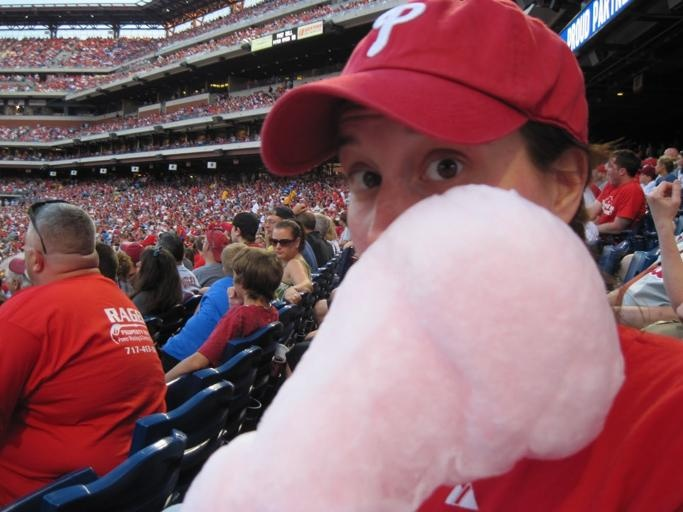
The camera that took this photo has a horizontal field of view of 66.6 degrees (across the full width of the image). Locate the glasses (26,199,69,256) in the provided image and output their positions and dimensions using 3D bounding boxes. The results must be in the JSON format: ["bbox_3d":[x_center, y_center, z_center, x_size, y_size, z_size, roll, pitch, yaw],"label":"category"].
[{"bbox_3d":[-1.307,-0.156,2.258,0.062,0.238,0.199,-25,-8,27],"label":"glasses"}]

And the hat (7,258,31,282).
[{"bbox_3d":[-1.899,0.070,3.048,0.111,0.162,0.090,0,8,36],"label":"hat"}]

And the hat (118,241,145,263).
[{"bbox_3d":[-2.126,-0.074,5.222,0.291,0.248,0.494,0,5,-29],"label":"hat"}]
